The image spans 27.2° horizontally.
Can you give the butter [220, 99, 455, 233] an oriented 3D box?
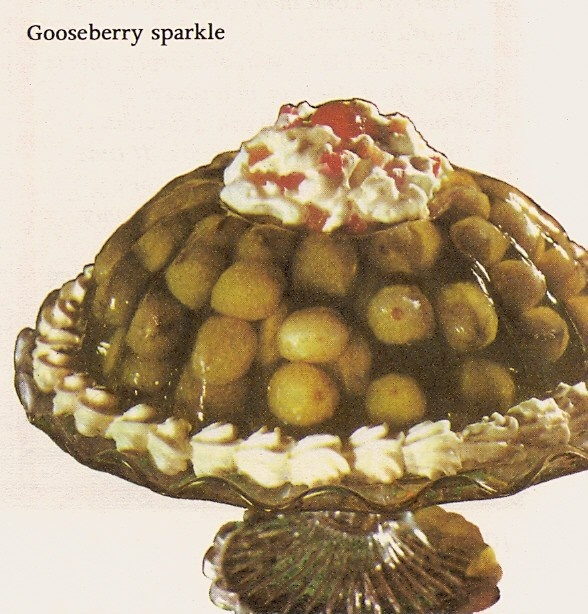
[{"bbox_3d":[0.073,-0.233,2.061,0.313,0.093,0.271,-11,34,-17],"label":"butter"}]
